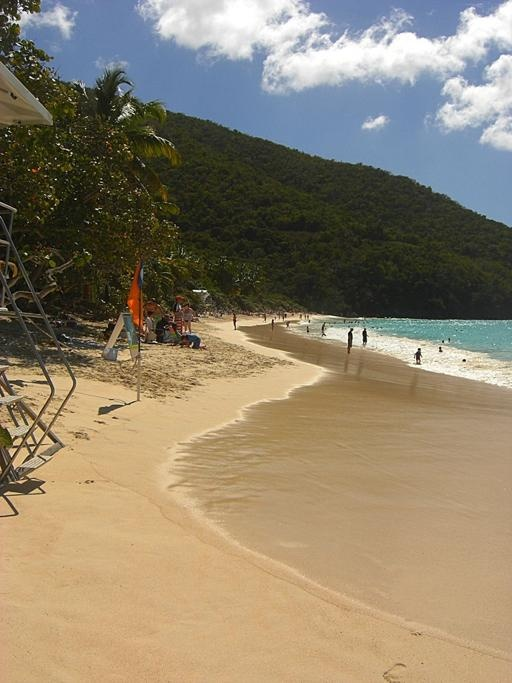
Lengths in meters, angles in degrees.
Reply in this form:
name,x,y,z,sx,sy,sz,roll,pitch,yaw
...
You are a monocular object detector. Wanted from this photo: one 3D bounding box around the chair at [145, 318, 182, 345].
name,x,y,z,sx,sy,sz,roll,pitch,yaw
chair,-3.146,-0.285,20.942,1.233,0.635,0.578,-1,8,-12
